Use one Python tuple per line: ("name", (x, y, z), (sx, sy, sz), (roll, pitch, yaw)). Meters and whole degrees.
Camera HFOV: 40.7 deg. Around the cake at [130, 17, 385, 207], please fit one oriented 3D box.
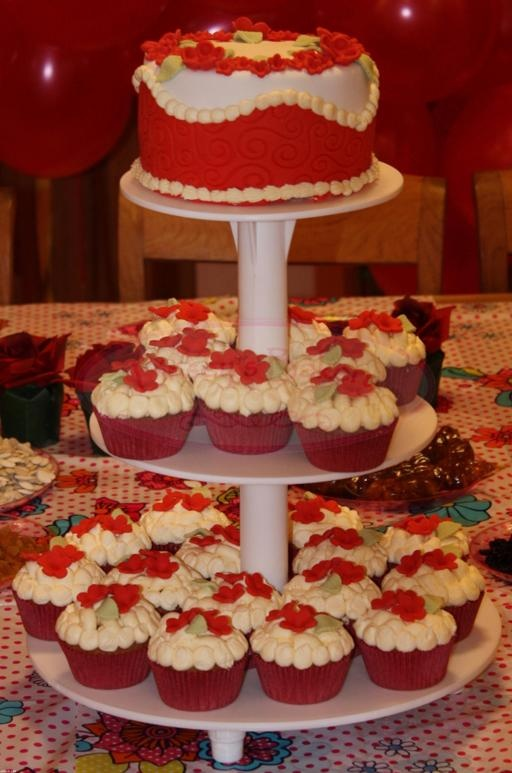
("cake", (-0.002, -0.202, 0.568), (0.186, 0.104, 0.176), (-1, 27, -4))
